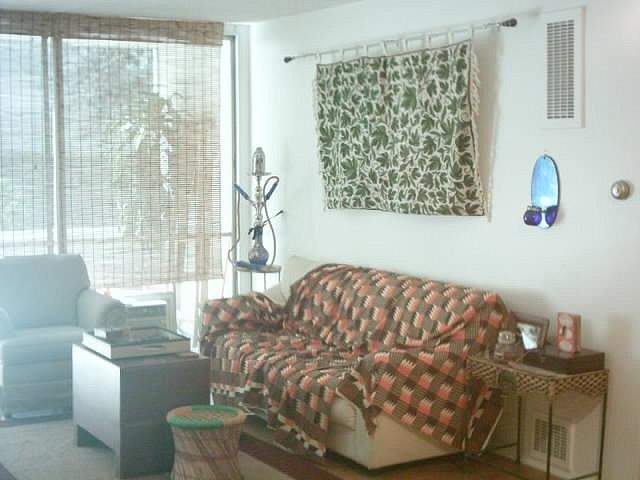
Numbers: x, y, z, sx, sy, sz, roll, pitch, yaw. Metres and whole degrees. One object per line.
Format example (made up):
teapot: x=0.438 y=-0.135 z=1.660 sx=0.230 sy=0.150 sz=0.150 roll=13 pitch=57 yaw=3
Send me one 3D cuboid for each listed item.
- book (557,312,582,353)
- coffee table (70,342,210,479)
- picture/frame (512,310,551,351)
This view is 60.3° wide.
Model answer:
book: x=1.326 y=0.497 z=2.951 sx=0.124 sy=0.192 sz=0.122 roll=4 pitch=9 yaw=37
coffee table: x=-1.078 y=0.864 z=3.255 sx=0.572 sy=0.884 sz=1.034 roll=-3 pitch=5 yaw=-36
picture/frame: x=1.202 y=0.491 z=3.172 sx=0.218 sy=0.225 sz=0.174 roll=7 pitch=8 yaw=40
